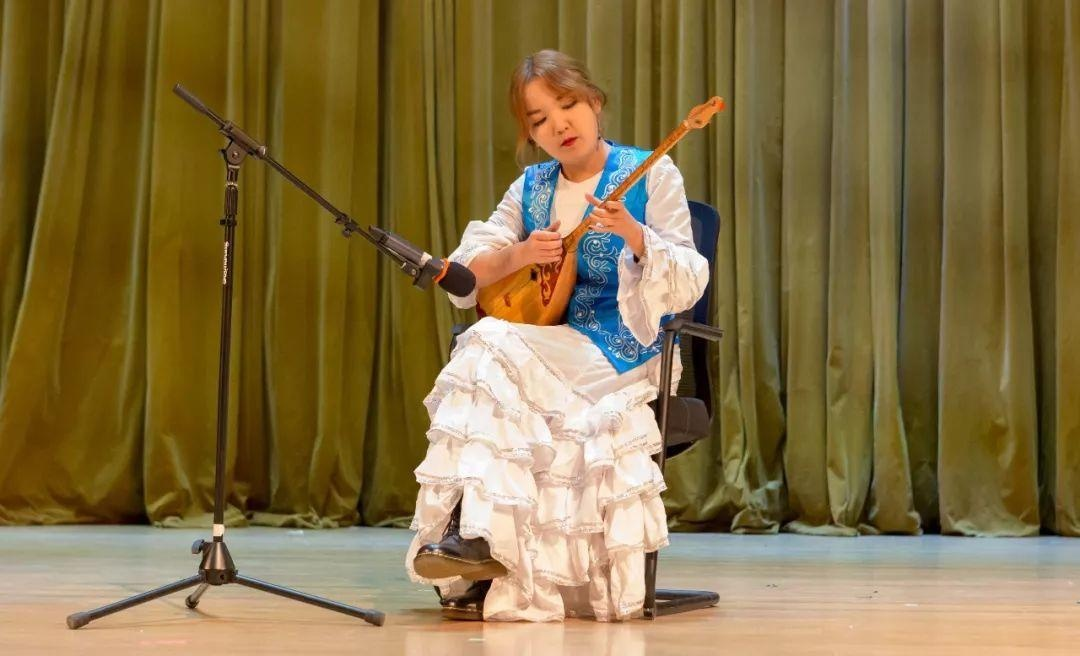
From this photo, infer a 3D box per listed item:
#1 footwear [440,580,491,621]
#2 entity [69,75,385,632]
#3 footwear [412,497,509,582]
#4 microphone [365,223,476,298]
[{"bbox_3d":[-0.267,1.018,5.928,0.216,0.098,0.097,19,-22,-38],"label":"footwear"},{"bbox_3d":[-1.265,0.063,6.126,1.009,2.143,1.120,5,-9,-34],"label":"entity"},{"bbox_3d":[-0.308,0.767,5.911,0.186,0.339,0.457,-23,-25,27],"label":"footwear"},{"bbox_3d":[-0.435,-0.237,5.907,0.443,0.146,0.133,24,17,-9],"label":"microphone"}]
